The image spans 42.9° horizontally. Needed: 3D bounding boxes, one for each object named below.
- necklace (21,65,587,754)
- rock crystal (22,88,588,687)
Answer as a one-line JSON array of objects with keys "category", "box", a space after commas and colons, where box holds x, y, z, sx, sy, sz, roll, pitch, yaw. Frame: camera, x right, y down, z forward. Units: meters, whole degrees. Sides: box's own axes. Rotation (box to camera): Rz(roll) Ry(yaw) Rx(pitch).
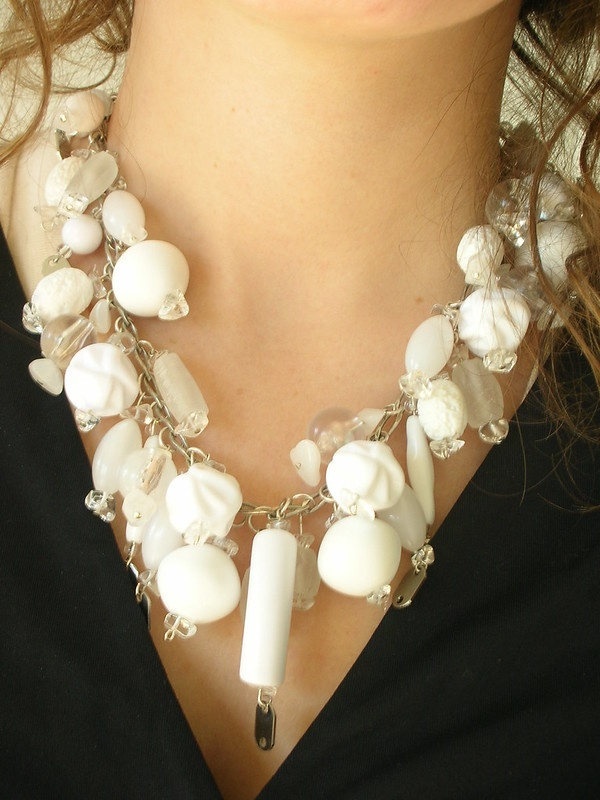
[{"category": "necklace", "box": [-0.047, 0.041, 0.842, 0.625, 0.734, 0.148, 2, -20, -8]}, {"category": "rock crystal", "box": [-0.006, 0.003, 0.867, 0.561, 0.133, 0.613, 4, -106, -9]}]
